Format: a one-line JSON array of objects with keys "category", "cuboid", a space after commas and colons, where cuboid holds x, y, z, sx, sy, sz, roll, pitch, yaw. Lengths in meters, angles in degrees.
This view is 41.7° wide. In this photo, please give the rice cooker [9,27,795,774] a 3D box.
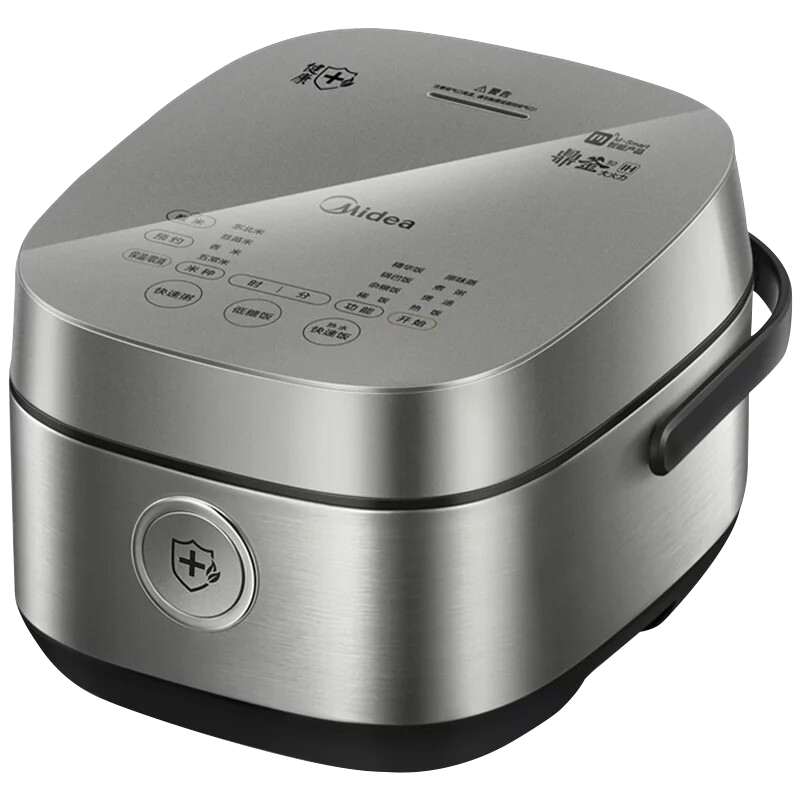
[{"category": "rice cooker", "cuboid": [0.012, -0.036, 0.748, 0.485, 0.288, 0.502, 17, 33, 27]}]
